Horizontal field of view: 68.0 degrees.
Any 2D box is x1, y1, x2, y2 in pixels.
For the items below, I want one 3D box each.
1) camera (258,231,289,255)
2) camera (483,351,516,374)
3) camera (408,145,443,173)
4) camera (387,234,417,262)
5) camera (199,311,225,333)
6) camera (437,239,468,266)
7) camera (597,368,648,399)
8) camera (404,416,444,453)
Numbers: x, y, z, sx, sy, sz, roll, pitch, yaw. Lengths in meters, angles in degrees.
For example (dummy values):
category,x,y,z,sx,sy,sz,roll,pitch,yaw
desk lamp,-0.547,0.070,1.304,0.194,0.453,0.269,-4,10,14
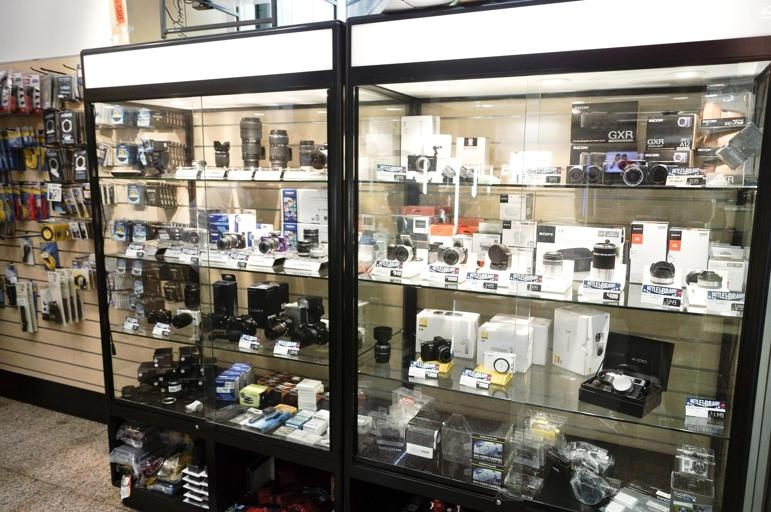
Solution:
category,x,y,z,sx,sy,sz,roll,pitch,yaw
camera,-0.787,-0.096,4.024,0.208,0.134,0.150,4,14,18
camera,0.719,0.660,3.560,0.146,0.094,0.047,2,4,26
camera,0.242,-0.611,3.678,0.220,0.143,0.157,0,5,5
camera,0.108,-0.055,3.793,0.182,0.171,0.183,2,2,24
camera,-1.255,0.471,4.203,0.215,0.120,0.142,4,5,2
camera,0.431,-0.045,3.713,0.213,0.194,0.154,12,10,28
camera,1.376,0.733,3.311,0.187,0.053,0.136,10,28,21
camera,0.255,1.189,3.735,0.249,0.193,0.248,3,-4,35
